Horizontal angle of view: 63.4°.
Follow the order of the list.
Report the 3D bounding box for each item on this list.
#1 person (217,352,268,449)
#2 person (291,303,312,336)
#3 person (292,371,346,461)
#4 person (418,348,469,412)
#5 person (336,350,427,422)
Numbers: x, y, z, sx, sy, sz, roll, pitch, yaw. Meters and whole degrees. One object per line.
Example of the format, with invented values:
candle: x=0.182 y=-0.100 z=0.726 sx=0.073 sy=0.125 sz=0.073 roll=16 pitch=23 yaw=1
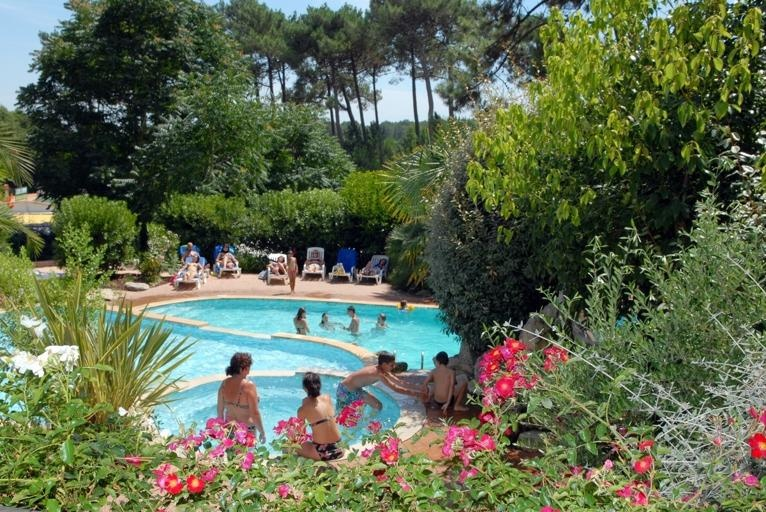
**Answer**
person: x=-2.072 y=2.045 z=8.961 sx=0.890 sy=1.237 sz=0.500 roll=6 pitch=9 yaw=40
person: x=-2.074 y=1.674 z=15.818 sx=0.366 sy=0.831 sz=1.096 roll=-1 pitch=8 yaw=-9
person: x=-0.852 y=2.174 z=8.346 sx=0.622 sy=1.147 sz=0.520 roll=-1 pitch=7 yaw=-3
person: x=1.025 y=2.130 z=10.395 sx=0.638 sy=1.041 sz=0.719 roll=-2 pitch=3 yaw=21
person: x=-0.061 y=2.129 z=10.455 sx=1.450 sy=1.136 sz=1.014 roll=-5 pitch=9 yaw=-34
